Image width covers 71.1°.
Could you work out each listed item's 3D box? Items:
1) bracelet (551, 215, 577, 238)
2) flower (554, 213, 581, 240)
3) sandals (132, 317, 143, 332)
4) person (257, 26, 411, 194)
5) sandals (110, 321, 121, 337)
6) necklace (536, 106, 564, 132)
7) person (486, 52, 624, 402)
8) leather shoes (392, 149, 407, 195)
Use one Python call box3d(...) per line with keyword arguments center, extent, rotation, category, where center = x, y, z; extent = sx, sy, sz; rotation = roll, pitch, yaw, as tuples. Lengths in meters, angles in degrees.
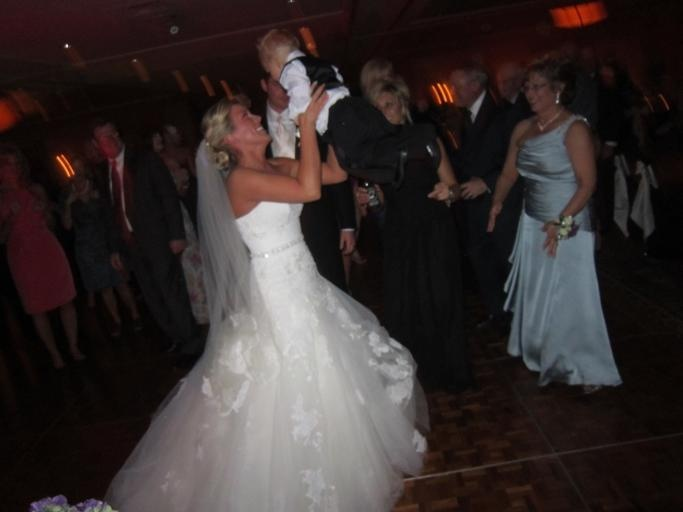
box3d(center=(1.396, -0.200, 3.024), extent=(0.130, 0.137, 0.050), rotation=(-33, 21, 5), category="bracelet")
box3d(center=(1.410, -0.191, 3.005), extent=(0.134, 0.143, 0.054), rotation=(19, 17, -24), category="flower")
box3d(center=(-2.244, 0.744, 5.243), extent=(0.103, 0.140, 0.143), rotation=(-4, 40, -2), category="sandals")
box3d(center=(-0.023, -0.781, 2.507), extent=(0.670, 0.894, 0.318), rotation=(-15, 16, -5), category="person")
box3d(center=(-2.384, 0.774, 5.120), extent=(0.134, 0.154, 0.105), rotation=(3, -9, 20), category="sandals")
box3d(center=(1.308, -0.868, 3.008), extent=(0.090, 0.034, 0.129), rotation=(10, -14, 11), category="necklace")
box3d(center=(1.357, -0.174, 3.120), extent=(0.762, 2.103, 0.573), rotation=(1, 21, 41), category="person")
box3d(center=(0.315, -0.459, 2.552), extent=(0.043, 0.183, 0.134), rotation=(5, -11, 1), category="leather shoes")
